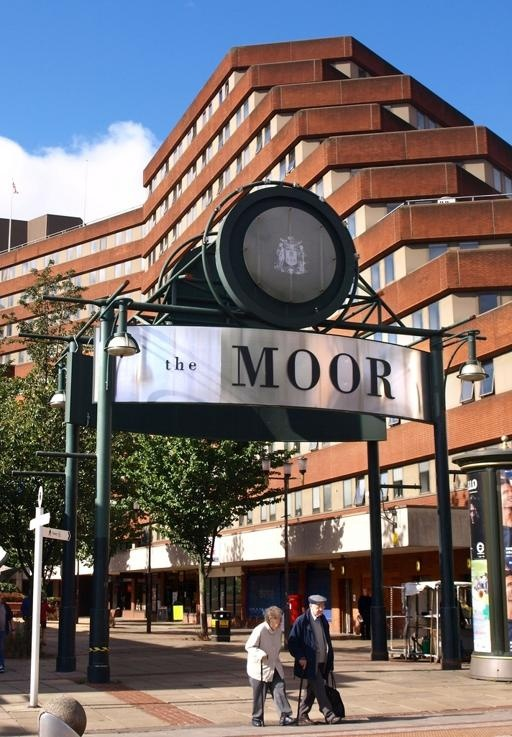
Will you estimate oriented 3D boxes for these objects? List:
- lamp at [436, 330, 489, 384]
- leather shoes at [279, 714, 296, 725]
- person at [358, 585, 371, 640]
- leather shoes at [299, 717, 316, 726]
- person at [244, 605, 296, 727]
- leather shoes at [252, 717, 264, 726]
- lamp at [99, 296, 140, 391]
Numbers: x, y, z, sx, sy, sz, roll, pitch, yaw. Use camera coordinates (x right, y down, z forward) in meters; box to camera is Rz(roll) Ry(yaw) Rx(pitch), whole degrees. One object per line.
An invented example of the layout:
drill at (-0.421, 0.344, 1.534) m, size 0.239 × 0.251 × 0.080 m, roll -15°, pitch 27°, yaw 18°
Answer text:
lamp at (4.217, -0.270, 19.530) m, size 0.878 × 1.208 × 1.026 m, roll -1°, pitch -19°, yaw 9°
leather shoes at (0.381, 4.030, 11.087) m, size 0.242 × 0.119 × 0.085 m, roll -2°, pitch -6°, yaw -8°
person at (3.620, 8.158, 32.052) m, size 0.501 × 1.750 × 0.469 m, roll -1°, pitch 9°, yaw 2°
leather shoes at (0.570, 4.115, 11.282) m, size 0.239 × 0.122 × 0.084 m, roll 0°, pitch -9°, yaw -11°
person at (0.164, 3.478, 11.327) m, size 0.539 × 1.325 × 1.313 m, roll 0°, pitch -13°, yaw 0°
leather shoes at (0.019, 4.016, 10.996) m, size 0.112 × 0.093 × 0.115 m, roll 3°, pitch -20°, yaw -11°
lamp at (-2.123, -0.626, 15.385) m, size 0.535 × 0.953 × 0.534 m, roll 5°, pitch -9°, yaw -31°
